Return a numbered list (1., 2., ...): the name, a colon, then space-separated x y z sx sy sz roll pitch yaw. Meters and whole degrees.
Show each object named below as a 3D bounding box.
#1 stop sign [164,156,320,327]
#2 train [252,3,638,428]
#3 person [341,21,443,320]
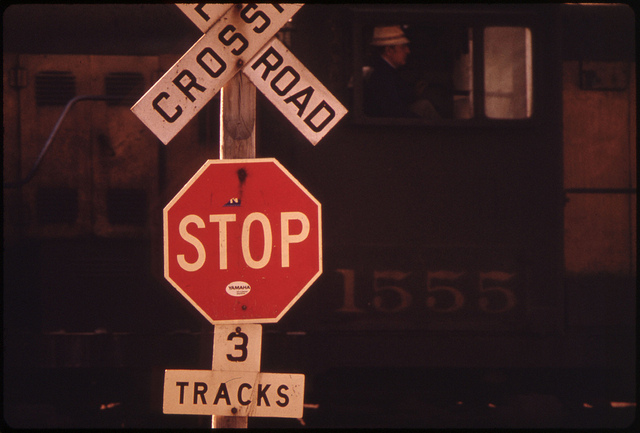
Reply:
1. stop sign: -0.565 0.190 9.565 1.327 1.371 0.131 -1 -1 -3
2. train: 0.940 -0.027 10.083 3.242 3.191 1.726 0 -3 -2
3. person: 0.583 -0.365 10.145 0.834 2.258 0.881 1 20 2
